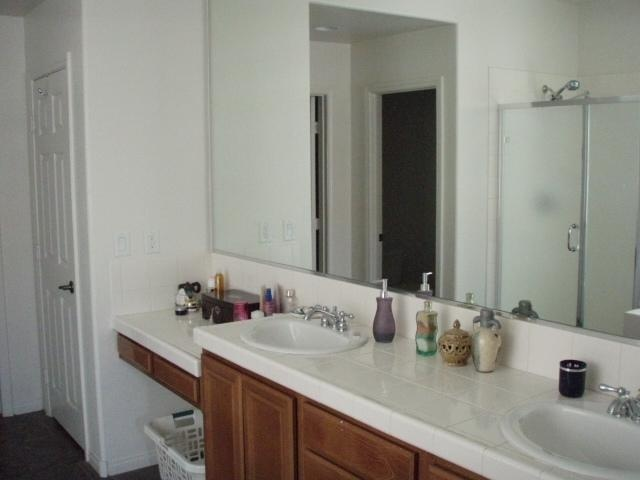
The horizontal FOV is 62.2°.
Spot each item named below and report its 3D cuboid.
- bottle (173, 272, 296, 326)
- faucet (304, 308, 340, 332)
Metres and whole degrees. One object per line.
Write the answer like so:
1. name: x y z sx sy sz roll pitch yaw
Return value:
1. bottle: -0.542 0.360 3.045 0.287 0.137 0.539 -3 5 -34
2. faucet: 0.015 0.366 2.483 0.239 0.094 0.064 8 9 41
